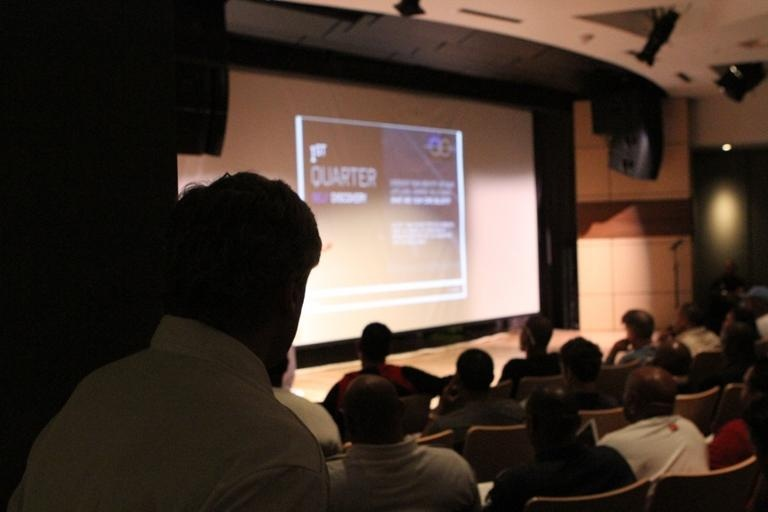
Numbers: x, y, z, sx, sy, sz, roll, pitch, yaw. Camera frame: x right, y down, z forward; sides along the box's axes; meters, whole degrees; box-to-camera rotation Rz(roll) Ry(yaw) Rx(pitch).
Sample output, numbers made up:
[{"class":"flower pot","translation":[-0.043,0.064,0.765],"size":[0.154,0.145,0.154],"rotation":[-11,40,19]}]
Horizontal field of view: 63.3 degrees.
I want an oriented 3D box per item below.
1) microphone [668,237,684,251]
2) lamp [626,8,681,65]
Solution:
[{"class":"microphone","translation":[4.127,-0.156,8.750],"size":[0.214,0.163,0.106],"rotation":[-3,0,-23]},{"class":"lamp","translation":[2.887,-2.242,6.514],"size":[0.391,0.472,1.276],"rotation":[-2,0,26]}]
